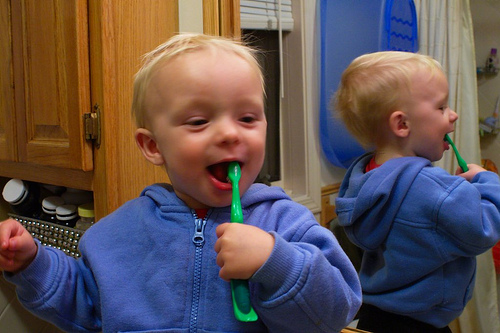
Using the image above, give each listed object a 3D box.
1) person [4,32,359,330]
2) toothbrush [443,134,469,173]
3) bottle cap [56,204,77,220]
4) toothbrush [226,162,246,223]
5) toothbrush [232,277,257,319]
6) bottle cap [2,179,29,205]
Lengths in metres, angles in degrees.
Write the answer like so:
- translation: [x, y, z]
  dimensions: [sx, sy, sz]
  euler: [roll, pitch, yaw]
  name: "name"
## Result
- translation: [-0.153, 0.043, 1.040]
  dimensions: [0.804, 0.717, 0.210]
  euler: [2, 3, 10]
  name: "person"
- translation: [0.947, -0.062, 2.087]
  dimensions: [0.027, 0.256, 0.027]
  euler: [-35, 24, 9]
  name: "toothbrush"
- translation: [-0.619, 0.151, 1.512]
  dimensions: [0.049, 0.025, 0.050]
  euler: [2, 14, -1]
  name: "bottle cap"
- translation: [-0.033, 0.063, 0.991]
  dimensions: [0.024, 0.157, 0.023]
  euler: [-4, 1, -2]
  name: "toothbrush"
- translation: [-0.012, 0.274, 0.939]
  dimensions: [0.051, 0.076, 0.030]
  euler: [1, 3, -3]
  name: "toothbrush"
- translation: [-0.823, 0.088, 1.594]
  dimensions: [0.081, 0.085, 0.030]
  euler: [-5, -22, 13]
  name: "bottle cap"
